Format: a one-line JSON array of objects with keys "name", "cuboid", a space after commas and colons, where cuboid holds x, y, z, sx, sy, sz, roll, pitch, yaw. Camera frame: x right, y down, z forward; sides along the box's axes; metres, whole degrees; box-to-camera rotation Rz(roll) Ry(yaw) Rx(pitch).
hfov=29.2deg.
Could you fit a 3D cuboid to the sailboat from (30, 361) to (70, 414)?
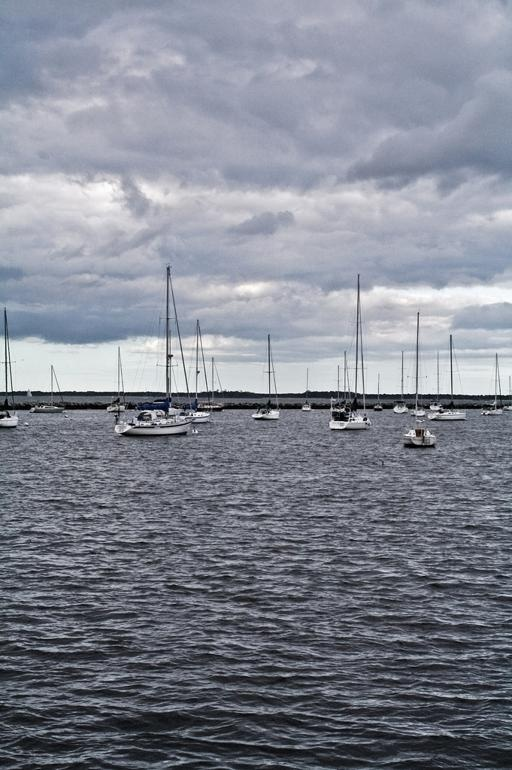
[{"name": "sailboat", "cuboid": [-34.409, 0.722, 164.510, 5.645, 9.098, 2.019, 3, 29, -13]}]
